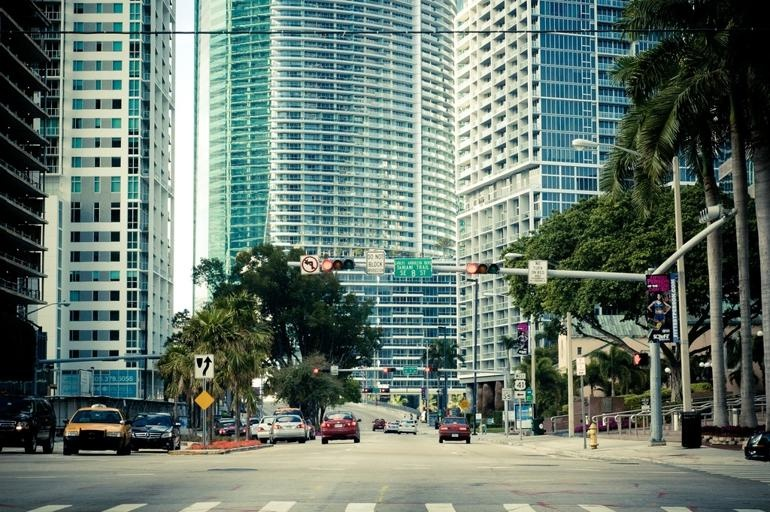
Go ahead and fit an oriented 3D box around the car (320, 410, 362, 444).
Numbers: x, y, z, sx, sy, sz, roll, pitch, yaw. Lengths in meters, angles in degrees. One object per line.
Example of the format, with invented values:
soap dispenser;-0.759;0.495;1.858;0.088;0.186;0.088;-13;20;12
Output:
car;-3.435;13.541;108.448;2.373;2.656;4.396;-5;-13;8

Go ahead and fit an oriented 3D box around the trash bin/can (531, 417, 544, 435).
trash bin/can;14.604;15.997;128.488;1.299;2.103;1.338;1;-8;-6

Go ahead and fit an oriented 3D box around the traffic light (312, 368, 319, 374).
traffic light;-7.333;12.448;147.840;0.583;0.597;0.607;5;-11;-21
